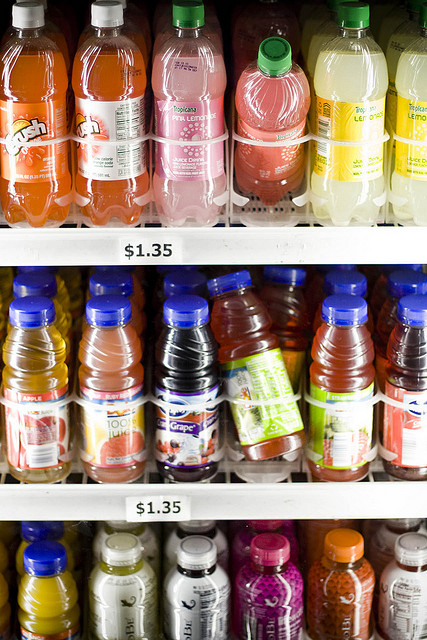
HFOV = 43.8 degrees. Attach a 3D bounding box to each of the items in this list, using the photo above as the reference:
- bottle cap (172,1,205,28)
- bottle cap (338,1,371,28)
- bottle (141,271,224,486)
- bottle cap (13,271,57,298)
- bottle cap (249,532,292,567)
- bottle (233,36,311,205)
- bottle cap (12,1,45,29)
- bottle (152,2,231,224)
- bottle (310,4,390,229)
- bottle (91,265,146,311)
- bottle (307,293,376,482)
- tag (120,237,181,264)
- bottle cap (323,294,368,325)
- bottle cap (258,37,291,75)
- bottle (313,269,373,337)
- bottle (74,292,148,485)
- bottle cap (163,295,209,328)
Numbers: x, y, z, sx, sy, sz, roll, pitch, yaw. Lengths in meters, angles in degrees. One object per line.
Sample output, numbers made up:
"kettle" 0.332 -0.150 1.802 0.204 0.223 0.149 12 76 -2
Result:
"bottle cap" -0.033 -0.414 0.717 0.039 0.024 0.040 0 29 -2
"bottle cap" 0.201 -0.428 0.754 0.046 0.032 0.048 -1 20 3
"bottle" -0.055 0.121 0.908 0.134 0.327 0.138 -5 14 1
"bottle cap" -0.323 -0.061 0.954 0.069 0.041 0.096 -14 18 -30
"bottle cap" 0.102 0.420 0.965 0.082 0.033 0.084 -1 18 -1
"bottle" 0.084 -0.284 0.784 0.113 0.224 0.148 -4 14 3
"bottle cap" -0.246 -0.413 0.722 0.041 0.032 0.042 6 36 5
"bottle" -0.041 -0.317 0.832 0.121 0.319 0.247 -5 14 -1
"bottle" 0.201 -0.303 0.803 0.121 0.316 0.167 -1 15 17
"bottle" -0.189 -0.079 1.098 0.100 0.105 0.109 0 26 -3
"bottle" 0.233 0.113 0.932 0.104 0.325 0.159 7 18 40
"tag" -0.093 -0.101 0.766 0.043 0.027 0.062 -2 16 -4
"bottle cap" 0.212 -0.013 0.857 0.068 0.039 0.052 -2 15 11
"bottle cap" 0.085 -0.352 0.704 0.046 0.048 0.031 1 -23 0
"bottle" 0.228 -0.030 0.947 0.089 0.133 0.091 -2 38 2
"bottle" -0.173 0.120 0.893 0.109 0.307 0.110 2 16 0
"bottle cap" -0.046 -0.013 0.845 0.067 0.039 0.078 -14 17 -29
